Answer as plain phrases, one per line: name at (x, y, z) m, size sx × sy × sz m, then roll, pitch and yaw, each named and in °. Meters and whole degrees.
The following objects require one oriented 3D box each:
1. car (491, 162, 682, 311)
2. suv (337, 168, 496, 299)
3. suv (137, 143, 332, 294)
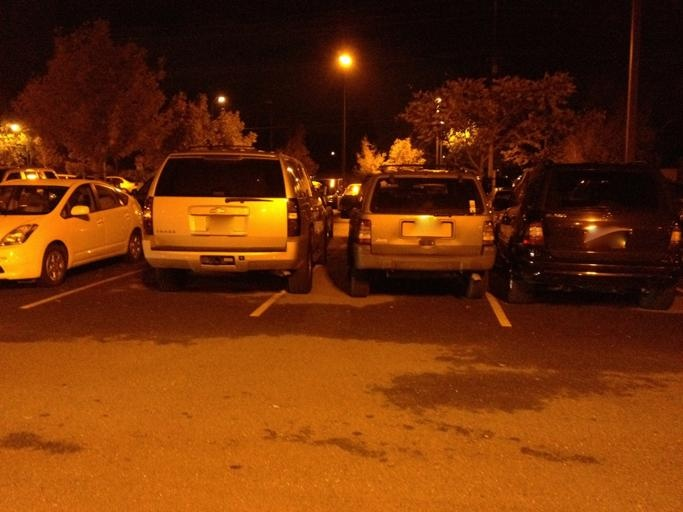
car at (4.196, -0.327, 8.639) m, size 2.549 × 2.449 × 1.203 m, roll 1°, pitch 5°, yaw 4°
suv at (1.401, -0.441, 8.905) m, size 1.615 × 1.584 × 2.956 m, roll 1°, pitch 13°, yaw 3°
suv at (-1.894, -0.934, 10.388) m, size 1.882 × 1.747 × 3.470 m, roll 0°, pitch 10°, yaw 3°
